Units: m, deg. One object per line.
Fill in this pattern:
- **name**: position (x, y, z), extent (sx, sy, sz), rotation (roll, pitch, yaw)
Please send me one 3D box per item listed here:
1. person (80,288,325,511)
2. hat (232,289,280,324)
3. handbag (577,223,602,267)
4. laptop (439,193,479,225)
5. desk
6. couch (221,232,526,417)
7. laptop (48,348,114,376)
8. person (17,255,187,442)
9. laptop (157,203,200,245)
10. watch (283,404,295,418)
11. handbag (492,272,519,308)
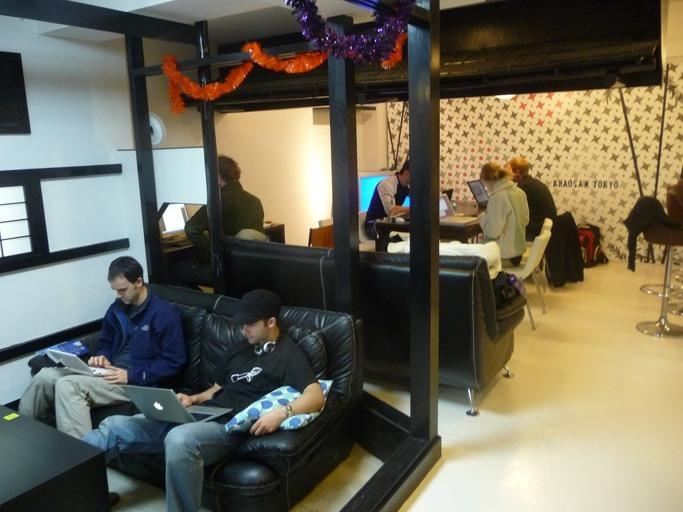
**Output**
- **person**: position (-0.740, 0.721, 3.381), extent (1.529, 1.235, 1.097), rotation (-5, 11, -40)
- **hat**: position (-0.539, 0.310, 3.270), extent (0.177, 0.143, 0.252), rotation (19, 24, 40)
- **handbag**: position (3.432, -0.131, 7.194), extent (0.347, 0.723, 0.484), rotation (0, 5, 33)
- **laptop**: position (1.523, -0.578, 6.673), extent (0.511, 0.323, 0.745), rotation (4, 17, 23)
- **desk**: position (1.144, -0.359, 6.244), extent (0.826, 0.455, 0.573), rotation (9, 24, 32)
- **couch**: position (0.620, 0.008, 4.483), extent (2.494, 1.325, 1.185), rotation (7, 19, 30)
- **laptop**: position (-1.914, 0.774, 3.727), extent (0.262, 0.185, 0.247), rotation (7, 12, 25)
- **person**: position (-1.807, 0.513, 4.215), extent (0.999, 1.767, 1.289), rotation (9, 7, 44)
- **laptop**: position (-1.608, -0.320, 5.038), extent (0.091, 0.415, 0.388), rotation (16, 16, 42)
- **watch**: position (-0.314, 0.937, 3.138), extent (0.047, 0.083, 0.077), rotation (1, 46, -1)
- **handbag**: position (1.352, 0.281, 4.299), extent (0.215, 0.314, 0.092), rotation (8, -9, -39)
